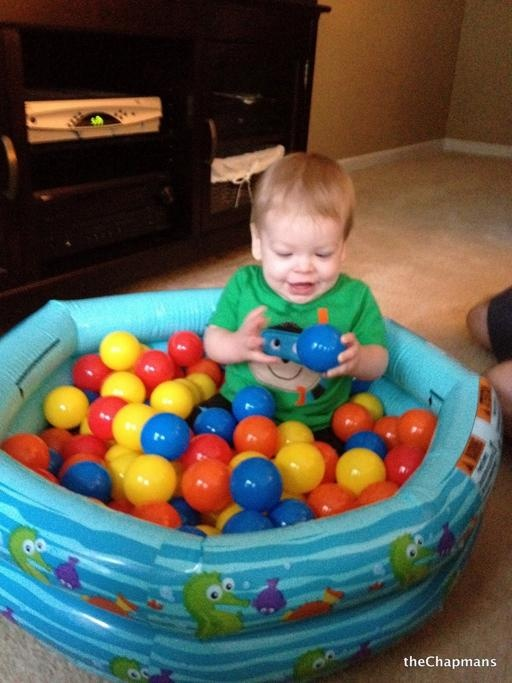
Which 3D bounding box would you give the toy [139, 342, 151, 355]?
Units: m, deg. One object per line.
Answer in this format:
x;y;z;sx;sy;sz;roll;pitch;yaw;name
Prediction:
-0.283;0.018;1.451;0.027;0.014;0.026;-1;35;-34;toy

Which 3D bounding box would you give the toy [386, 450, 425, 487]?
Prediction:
0.262;0.220;0.983;0.053;0.057;0.051;20;18;-15;toy

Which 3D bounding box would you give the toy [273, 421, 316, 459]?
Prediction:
0.078;0.193;1.123;0.059;0.061;0.055;6;24;-5;toy

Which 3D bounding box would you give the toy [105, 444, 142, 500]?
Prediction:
-0.274;0.254;1.119;0.091;0.097;0.085;-4;-1;-18;toy

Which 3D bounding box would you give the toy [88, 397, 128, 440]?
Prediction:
-0.315;0.156;1.167;0.088;0.092;0.083;2;5;11;toy

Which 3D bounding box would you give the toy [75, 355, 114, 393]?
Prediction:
-0.390;0.078;1.389;0.089;0.094;0.085;-2;2;6;toy

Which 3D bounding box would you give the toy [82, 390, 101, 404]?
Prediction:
-0.373;0.126;1.284;0.026;0.028;0.024;-15;11;5;toy

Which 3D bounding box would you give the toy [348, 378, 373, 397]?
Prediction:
0.259;0.113;1.410;0.050;0.047;0.055;9;52;-7;toy

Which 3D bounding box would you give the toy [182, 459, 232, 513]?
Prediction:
-0.084;0.249;0.981;0.097;0.102;0.092;0;7;1;toy

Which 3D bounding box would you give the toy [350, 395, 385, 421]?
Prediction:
0.255;0.146;1.322;0.065;0.061;0.072;5;52;1;toy

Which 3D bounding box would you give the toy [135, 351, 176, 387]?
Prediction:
-0.231;0.062;1.349;0.090;0.095;0.085;-3;25;3;toy

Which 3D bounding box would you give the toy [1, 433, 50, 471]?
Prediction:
-0.391;0.189;0.975;0.086;0.068;0.067;11;52;-30;toy

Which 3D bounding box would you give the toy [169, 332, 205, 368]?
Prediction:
-0.169;0.017;1.433;0.087;0.093;0.085;-2;16;30;toy

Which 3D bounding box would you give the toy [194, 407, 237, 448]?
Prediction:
-0.080;0.181;1.187;0.084;0.090;0.079;0;-9;4;toy

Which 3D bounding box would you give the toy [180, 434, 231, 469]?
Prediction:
-0.091;0.203;1.063;0.087;0.069;0.071;-5;47;4;toy

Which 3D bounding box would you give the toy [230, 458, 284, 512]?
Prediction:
0.000;0.228;0.907;0.078;0.075;0.064;-5;40;-11;toy

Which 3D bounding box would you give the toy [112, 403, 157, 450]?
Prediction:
-0.250;0.174;1.155;0.094;0.098;0.089;-4;-6;-13;toy

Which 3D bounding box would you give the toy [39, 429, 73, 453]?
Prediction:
-0.415;0.204;1.181;0.052;0.056;0.050;1;31;14;toy

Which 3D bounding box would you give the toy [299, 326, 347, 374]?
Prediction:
0.117;0.012;1.061;0.086;0.092;0.085;14;26;18;toy

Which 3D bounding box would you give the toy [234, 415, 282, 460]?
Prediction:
0.005;0.177;1.110;0.084;0.089;0.079;-8;25;2;toy

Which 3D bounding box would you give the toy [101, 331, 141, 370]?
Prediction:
-0.317;0.024;1.326;0.082;0.080;0.058;-16;43;-23;toy

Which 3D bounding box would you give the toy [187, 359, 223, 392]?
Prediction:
-0.111;0.083;1.430;0.082;0.088;0.078;0;32;8;toy

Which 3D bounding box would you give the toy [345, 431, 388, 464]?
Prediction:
0.220;0.212;1.142;0.062;0.058;0.066;19;78;11;toy

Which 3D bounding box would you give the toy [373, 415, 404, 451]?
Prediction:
0.284;0.195;1.219;0.064;0.061;0.068;1;66;2;toy

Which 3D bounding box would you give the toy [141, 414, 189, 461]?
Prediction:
-0.168;0.180;1.052;0.060;0.066;0.059;19;50;18;toy

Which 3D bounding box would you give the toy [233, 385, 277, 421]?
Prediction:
-0.003;0.125;1.142;0.076;0.081;0.072;-6;35;-10;toy

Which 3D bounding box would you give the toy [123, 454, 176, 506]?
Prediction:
-0.188;0.249;1.003;0.096;0.102;0.091;0;18;-10;toy
